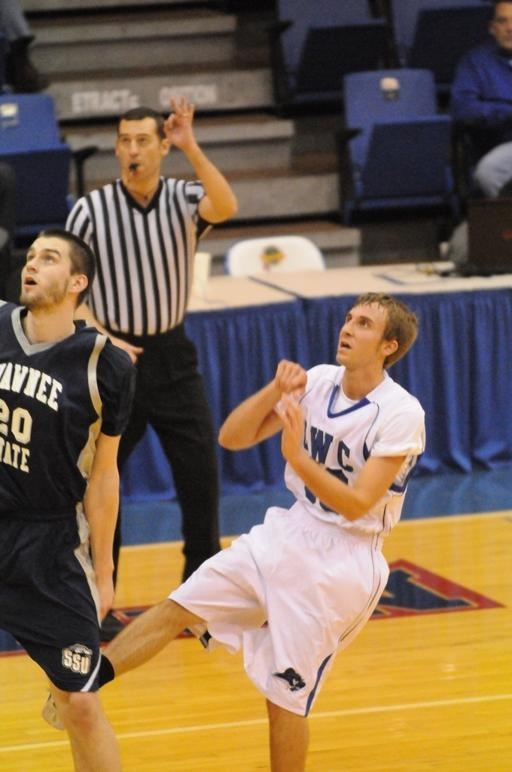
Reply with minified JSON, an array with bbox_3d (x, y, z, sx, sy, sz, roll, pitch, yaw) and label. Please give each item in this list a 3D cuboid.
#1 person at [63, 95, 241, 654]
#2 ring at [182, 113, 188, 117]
[{"bbox_3d":[-0.343,-0.014,3.079,0.554,1.707,0.553,2,21,3],"label":"person"},{"bbox_3d":[-0.212,-0.803,2.915,0.015,0.015,0.004,3,-6,2],"label":"ring"}]
